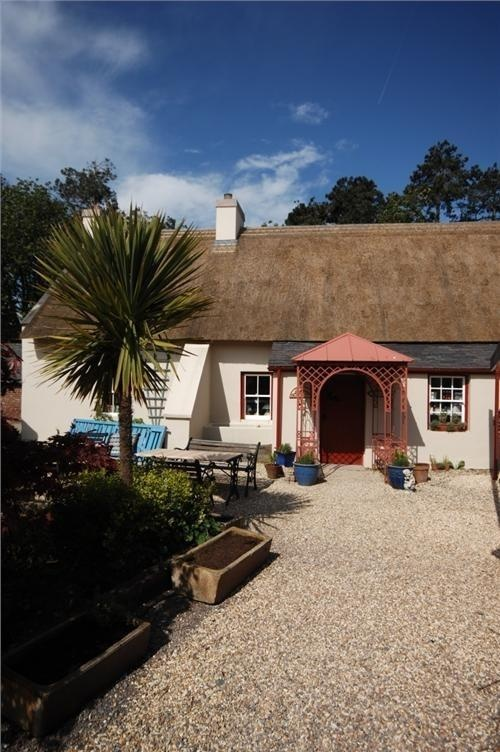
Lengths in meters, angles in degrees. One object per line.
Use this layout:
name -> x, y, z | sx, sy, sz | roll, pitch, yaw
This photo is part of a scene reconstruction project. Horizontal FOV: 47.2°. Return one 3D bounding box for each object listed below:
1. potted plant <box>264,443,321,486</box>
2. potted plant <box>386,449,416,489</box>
potted plant -> 0.907, 1.887, 11.831 | 0.548, 0.603, 1.204 | 1, -7, -18
potted plant -> 2.851, 1.836, 11.078 | 0.573, 0.725, 0.612 | 0, -8, -5
